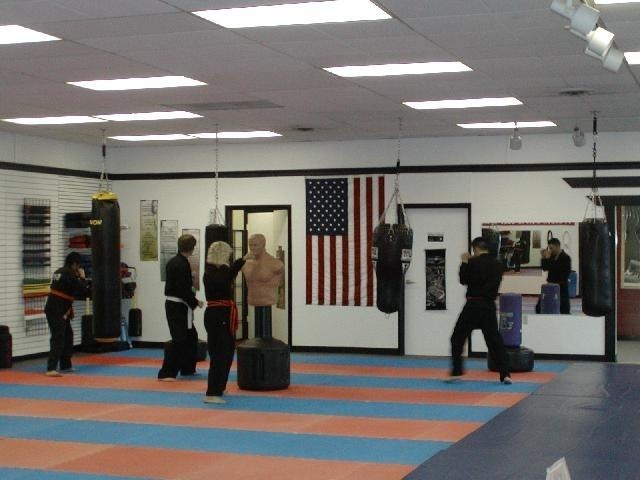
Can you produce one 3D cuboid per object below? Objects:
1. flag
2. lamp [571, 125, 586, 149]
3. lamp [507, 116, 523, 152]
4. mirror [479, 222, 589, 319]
[{"bbox_3d":[0.530,0.041,12.092,1.648,2.745,0.060,-1,-2,12],"label":"flag"},{"bbox_3d":[4.764,-1.907,10.483,0.181,0.272,0.400,-11,-39,26],"label":"lamp"},{"bbox_3d":[3.600,-1.911,10.515,0.170,0.424,0.797,-2,-2,21],"label":"lamp"},{"bbox_3d":[4.149,0.530,11.271,1.761,1.872,0.070,-6,7,4],"label":"mirror"}]
